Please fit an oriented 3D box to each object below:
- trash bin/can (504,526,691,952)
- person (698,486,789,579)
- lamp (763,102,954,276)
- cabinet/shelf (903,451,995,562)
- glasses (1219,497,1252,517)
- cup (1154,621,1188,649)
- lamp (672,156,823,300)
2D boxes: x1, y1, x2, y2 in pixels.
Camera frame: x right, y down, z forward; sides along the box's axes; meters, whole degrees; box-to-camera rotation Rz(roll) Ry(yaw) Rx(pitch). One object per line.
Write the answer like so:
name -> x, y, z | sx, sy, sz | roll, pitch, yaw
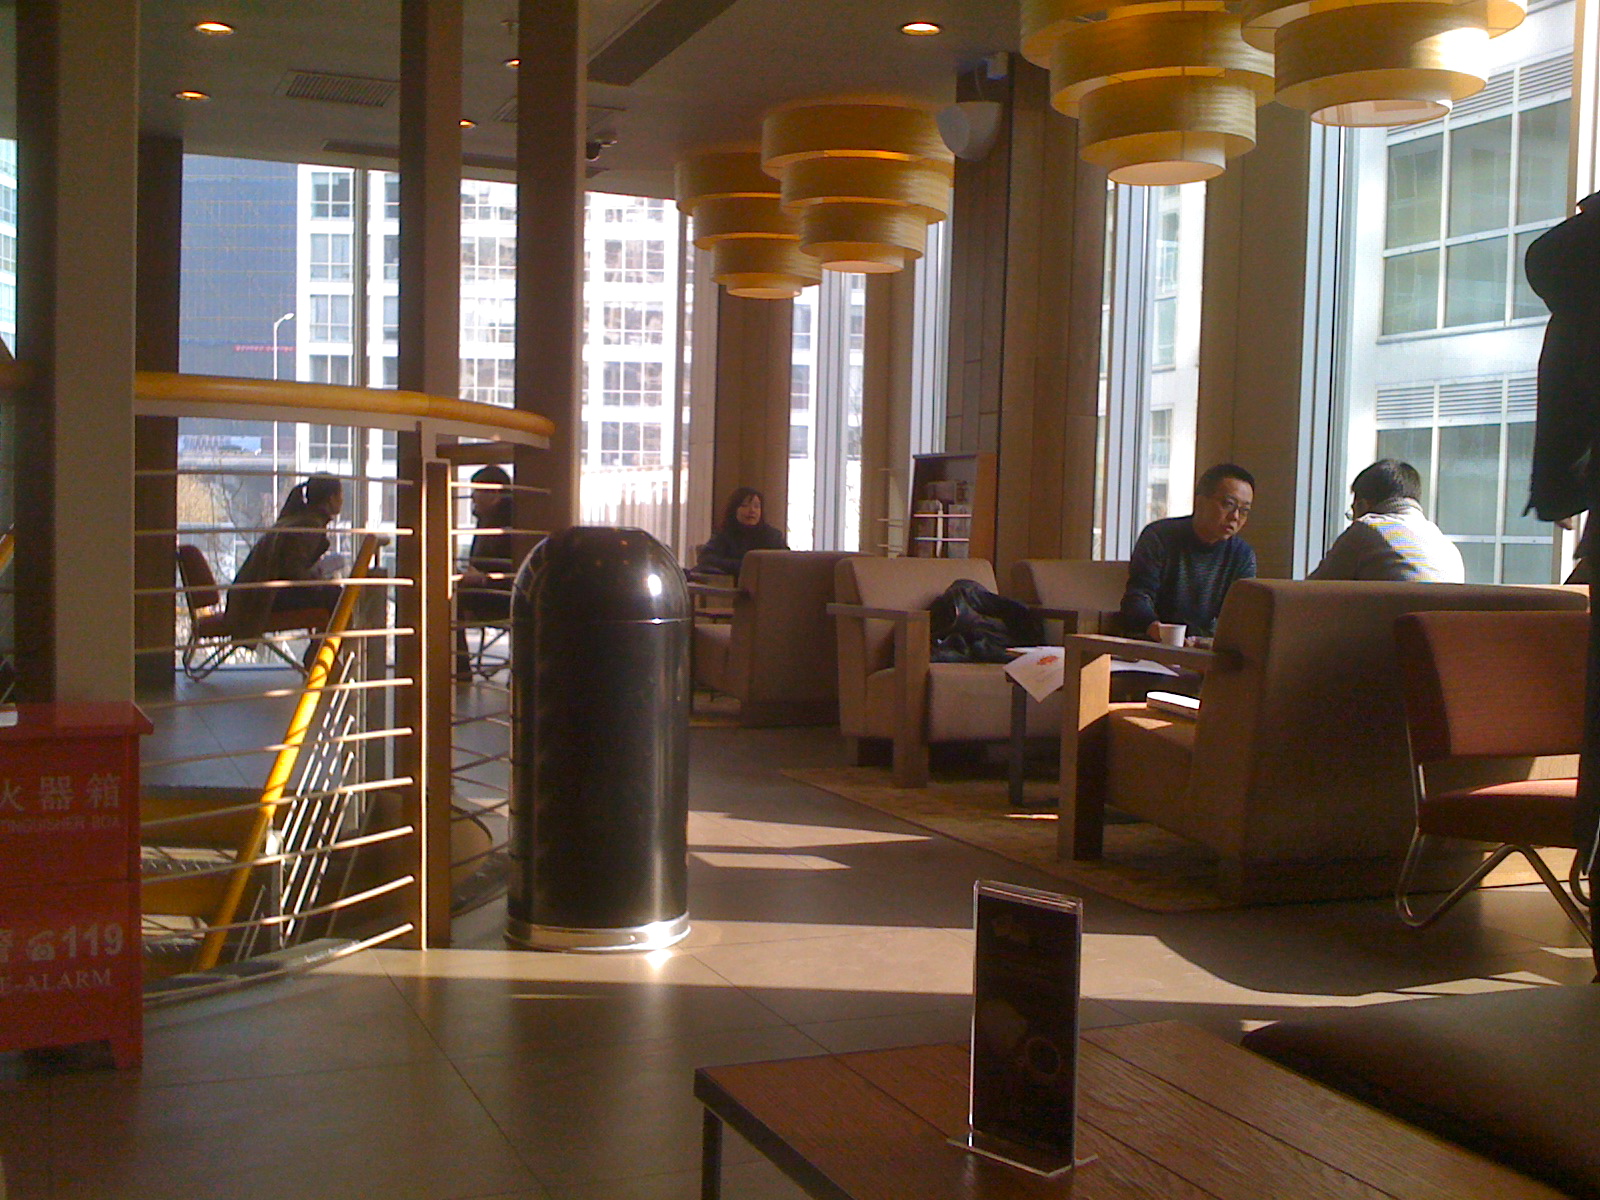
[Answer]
trash bin/can -> -0.562, 0.384, 3.950 | 0.508, 1.162, 0.227 | -1, 5, -13
person -> -0.343, -0.456, 9.776 | 0.710, 0.657, 0.401 | 2, -3, -25
lamp -> 0.387, -2.379, 8.216 | 0.934, 0.727, 0.961 | -2, 3, -8
cabinet/shelf -> 0.959, -0.583, 8.868 | 0.235, 0.861, 0.732 | 3, -5, -25
glasses -> 1.860, -0.418, 6.059 | 0.098, 0.050, 0.112 | 11, -12, -33
cup -> 1.342, 0.129, 5.133 | 0.100, 0.099, 0.128 | -1, 1, -39
lamp -> -0.307, -2.394, 9.194 | 0.880, 0.803, 0.905 | -4, 8, 38
